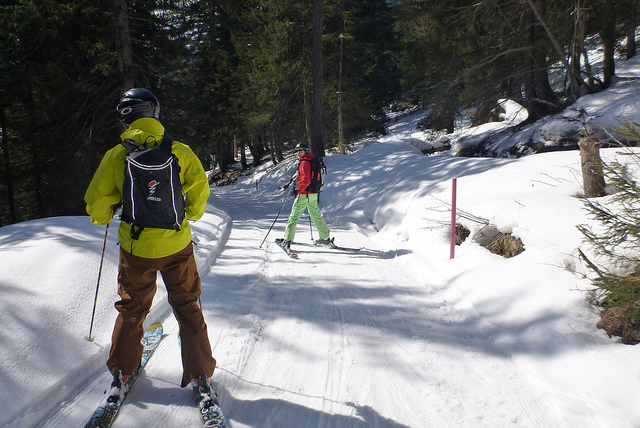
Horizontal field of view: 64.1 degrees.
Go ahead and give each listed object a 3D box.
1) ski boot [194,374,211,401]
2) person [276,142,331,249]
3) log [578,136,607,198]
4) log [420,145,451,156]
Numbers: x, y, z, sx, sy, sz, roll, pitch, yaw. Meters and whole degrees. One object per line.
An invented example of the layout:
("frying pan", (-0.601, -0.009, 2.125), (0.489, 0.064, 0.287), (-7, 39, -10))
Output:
("ski boot", (-1.836, 2.736, 7.982), (0.236, 0.452, 0.196), (-8, -12, -3))
("person", (-0.424, -0.415, 12.188), (1.257, 2.473, 0.505), (-10, 11, -23))
("log", (5.013, -0.834, 9.385), (0.453, 1.141, 1.139), (0, 12, 29))
("log", (5.077, -2.797, 22.255), (0.516, 0.290, 1.577), (-14, 13, -36))
